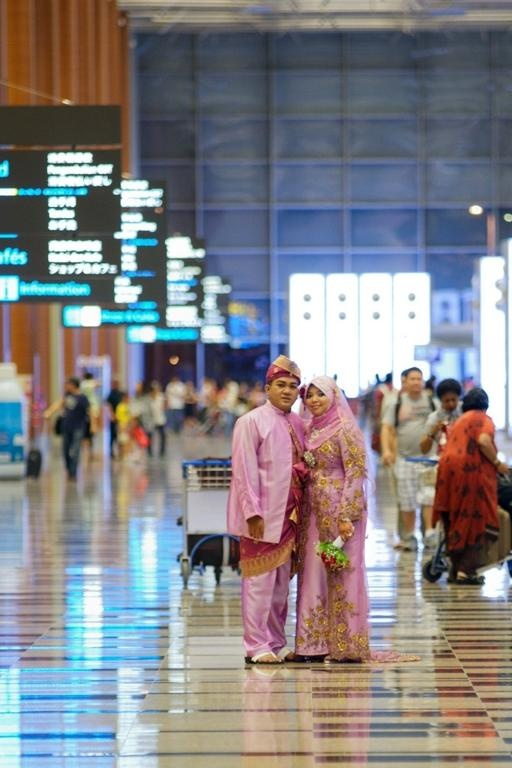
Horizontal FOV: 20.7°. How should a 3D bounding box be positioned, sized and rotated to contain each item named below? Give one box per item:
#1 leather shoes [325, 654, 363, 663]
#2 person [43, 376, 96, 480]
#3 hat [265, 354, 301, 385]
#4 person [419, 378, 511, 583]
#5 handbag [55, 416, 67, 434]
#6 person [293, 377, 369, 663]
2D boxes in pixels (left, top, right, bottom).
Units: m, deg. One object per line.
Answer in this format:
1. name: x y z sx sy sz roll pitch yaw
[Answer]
1. leather shoes: 0.409 1.305 6.645 0.194 0.031 0.051 -2 -3 29
2. person: -2.176 0.496 15.988 0.499 1.183 1.900 0 -3 -7
3. hat: 0.126 -0.074 6.902 0.133 0.138 0.143 -1 -14 -3
4. person: 1.248 0.608 8.231 0.387 1.185 0.599 0 -3 -12
5. handbag: -2.250 0.468 16.026 0.082 0.262 0.193 0 5 -15
6. person: 0.349 0.642 6.699 0.375 1.359 0.212 -2 -3 35
